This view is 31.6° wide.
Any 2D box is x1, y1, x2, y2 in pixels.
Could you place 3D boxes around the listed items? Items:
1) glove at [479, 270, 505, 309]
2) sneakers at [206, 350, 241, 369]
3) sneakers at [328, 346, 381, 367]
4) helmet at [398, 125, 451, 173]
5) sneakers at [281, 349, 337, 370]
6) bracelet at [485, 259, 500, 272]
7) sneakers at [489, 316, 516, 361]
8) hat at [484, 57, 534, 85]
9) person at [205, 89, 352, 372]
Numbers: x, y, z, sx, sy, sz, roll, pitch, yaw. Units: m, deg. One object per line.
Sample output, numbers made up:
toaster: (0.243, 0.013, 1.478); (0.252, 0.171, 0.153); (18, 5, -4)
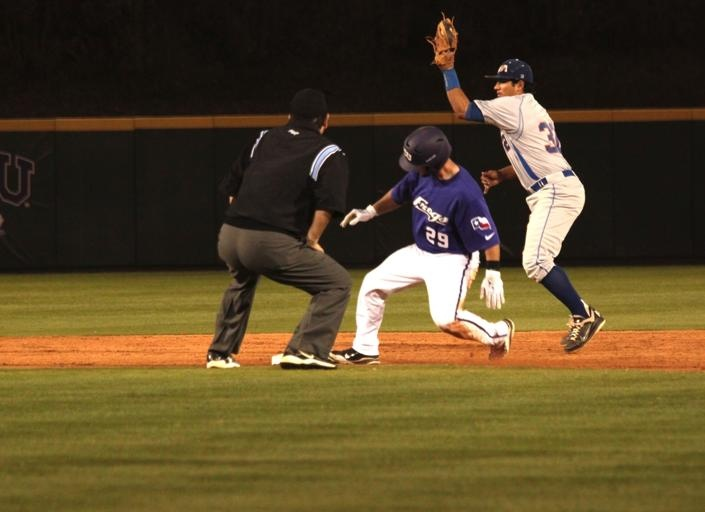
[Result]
glove: (1.445, 0.299, 12.685); (0.349, 0.389, 0.140); (5, 20, 7)
sneakers: (-1.285, 1.023, 12.517); (0.328, 0.192, 0.151); (-1, 4, -13)
sneakers: (0.028, 1.004, 12.659); (0.493, 0.176, 0.181); (7, -4, -1)
helmet: (0.730, -1.080, 12.431); (0.620, 0.285, 0.403); (-16, 27, -5)
sneakers: (-0.439, 0.999, 12.244); (0.603, 0.220, 0.193); (1, 3, 0)
bracelet: (1.427, 0.084, 12.502); (0.128, 0.085, 0.119); (-1, 4, -16)
sneakers: (1.494, 0.838, 12.615); (0.226, 0.451, 0.183); (-10, 21, -40)
hat: (1.685, -1.990, 13.203); (0.660, 0.330, 0.409); (8, 11, 2)
person: (-0.618, -0.214, 12.276); (1.330, 2.746, 0.506); (6, 9, -1)
